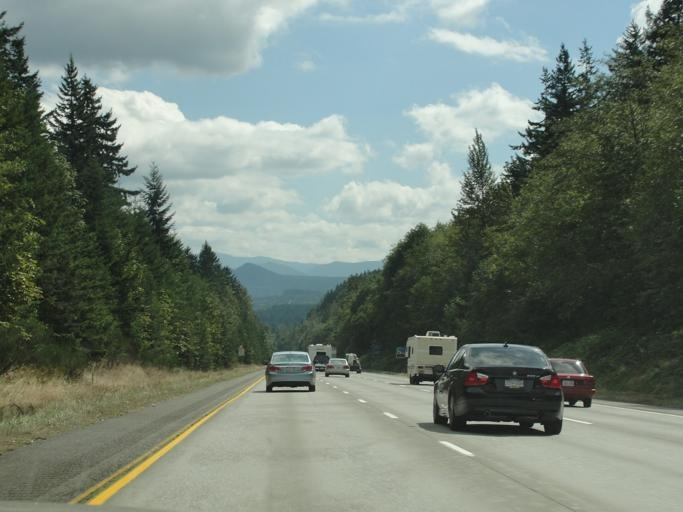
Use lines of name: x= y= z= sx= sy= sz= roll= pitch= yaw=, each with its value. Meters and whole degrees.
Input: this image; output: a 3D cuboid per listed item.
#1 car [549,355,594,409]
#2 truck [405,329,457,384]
car: x=9.026 y=4.886 z=35.112 sx=1.563 sy=1.468 sz=4.059 roll=0 pitch=-1 yaw=6
truck: x=5.524 y=6.186 z=56.243 sx=2.536 sy=3.146 sz=4.643 roll=1 pitch=-5 yaw=-7
